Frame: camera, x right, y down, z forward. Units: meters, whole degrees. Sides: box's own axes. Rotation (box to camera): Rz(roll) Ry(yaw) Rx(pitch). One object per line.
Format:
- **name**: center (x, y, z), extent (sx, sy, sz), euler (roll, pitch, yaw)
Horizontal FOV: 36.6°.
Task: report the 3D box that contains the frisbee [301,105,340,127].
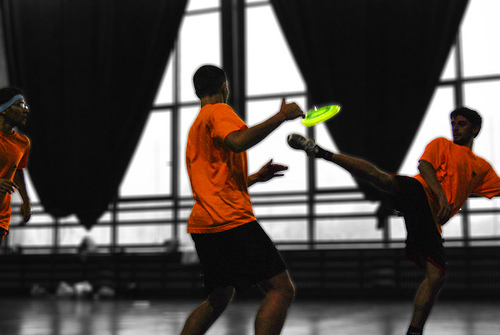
- **frisbee**: center (0.895, -0.680, 9.797), extent (0.503, 0.125, 0.507), euler (-22, 9, 32)
